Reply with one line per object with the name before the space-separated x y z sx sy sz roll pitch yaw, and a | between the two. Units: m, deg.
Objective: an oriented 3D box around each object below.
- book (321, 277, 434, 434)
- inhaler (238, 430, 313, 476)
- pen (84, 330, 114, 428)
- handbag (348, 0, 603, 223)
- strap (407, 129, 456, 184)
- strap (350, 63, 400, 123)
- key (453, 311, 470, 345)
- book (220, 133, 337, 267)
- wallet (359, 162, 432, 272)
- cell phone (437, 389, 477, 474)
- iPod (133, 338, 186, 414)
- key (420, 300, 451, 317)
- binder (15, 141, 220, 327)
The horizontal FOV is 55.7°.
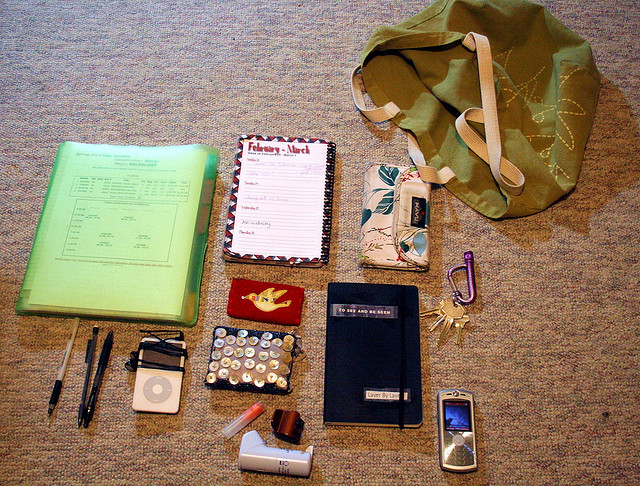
book | 0.130 0.255 1.370 0.249 0.095 0.323 2 61 -2
inhaler | -0.096 0.452 1.295 0.155 0.022 0.076 10 61 2
pen | -0.499 0.303 1.347 0.024 0.030 0.274 14 72 -10
handbag | 0.392 -0.361 1.704 0.588 0.168 0.607 -40 88 -4
strap | 0.262 -0.200 1.489 0.139 0.037 0.103 54 31 3
strap | 0.141 -0.364 1.551 0.119 0.047 0.157 -18 79 -12
key | 0.327 0.197 1.398 0.034 0.003 0.074 14 87 14
book | -0.100 -0.106 1.473 0.260 0.104 0.316 5 61 0
wallet | 0.183 -0.069 1.446 0.163 0.074 0.249 5 61 0
cell phone | 0.304 0.406 1.306 0.083 0.038 0.164 1 77 2
iPod | -0.361 0.291 1.343 0.100 0.053 0.153 4 61 -1
key | 0.269 0.155 1.407 0.076 0.002 0.027 -30 66 -3
binder | -0.475 -0.027 1.428 0.402 0.073 0.421 5 76 0
